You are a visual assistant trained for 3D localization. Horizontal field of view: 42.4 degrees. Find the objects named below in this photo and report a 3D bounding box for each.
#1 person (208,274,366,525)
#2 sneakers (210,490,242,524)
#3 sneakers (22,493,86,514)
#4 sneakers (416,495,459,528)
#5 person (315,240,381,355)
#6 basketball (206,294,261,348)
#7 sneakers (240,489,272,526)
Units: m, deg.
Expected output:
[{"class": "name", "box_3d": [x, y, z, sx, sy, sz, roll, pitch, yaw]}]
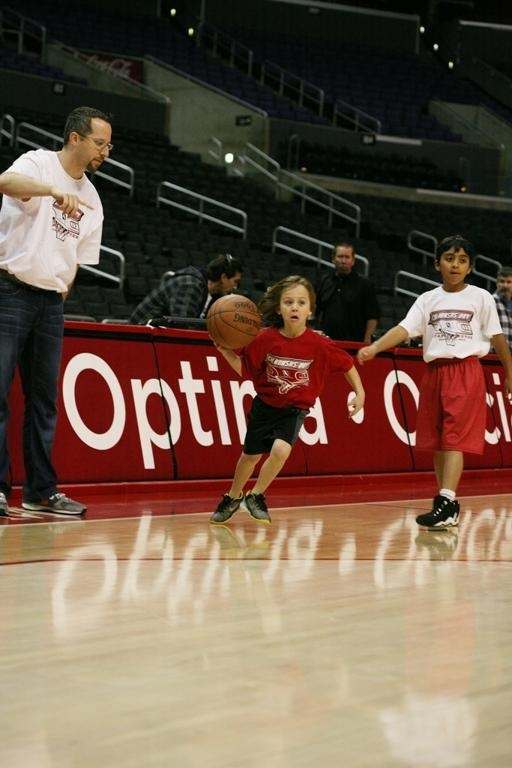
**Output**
[{"class": "person", "box_3d": [0.166, 0.069, 3.383, 0.735, 1.278, 0.380, 2, -7, 2]}, {"class": "sneakers", "box_3d": [-0.144, 0.612, 3.296, 0.077, 0.090, 0.226, 15, 28, 24]}, {"class": "sneakers", "box_3d": [-0.962, 0.567, 3.224, 0.333, 0.125, 0.120, 1, -7, 11]}, {"class": "sneakers", "box_3d": [0.948, 0.653, 3.378, 0.328, 0.165, 0.138, 8, -9, -42]}, {"class": "person", "box_3d": [0.855, -0.653, 6.322, 0.655, 1.331, 0.447, 11, 24, 28]}, {"class": "basketball", "box_3d": [-0.106, -0.322, 3.331, 0.276, 0.296, 0.221, 3, -7, -5]}, {"class": "sneakers", "box_3d": [0.005, 0.594, 3.226, 0.073, 0.088, 0.209, 17, 3, -33]}]
